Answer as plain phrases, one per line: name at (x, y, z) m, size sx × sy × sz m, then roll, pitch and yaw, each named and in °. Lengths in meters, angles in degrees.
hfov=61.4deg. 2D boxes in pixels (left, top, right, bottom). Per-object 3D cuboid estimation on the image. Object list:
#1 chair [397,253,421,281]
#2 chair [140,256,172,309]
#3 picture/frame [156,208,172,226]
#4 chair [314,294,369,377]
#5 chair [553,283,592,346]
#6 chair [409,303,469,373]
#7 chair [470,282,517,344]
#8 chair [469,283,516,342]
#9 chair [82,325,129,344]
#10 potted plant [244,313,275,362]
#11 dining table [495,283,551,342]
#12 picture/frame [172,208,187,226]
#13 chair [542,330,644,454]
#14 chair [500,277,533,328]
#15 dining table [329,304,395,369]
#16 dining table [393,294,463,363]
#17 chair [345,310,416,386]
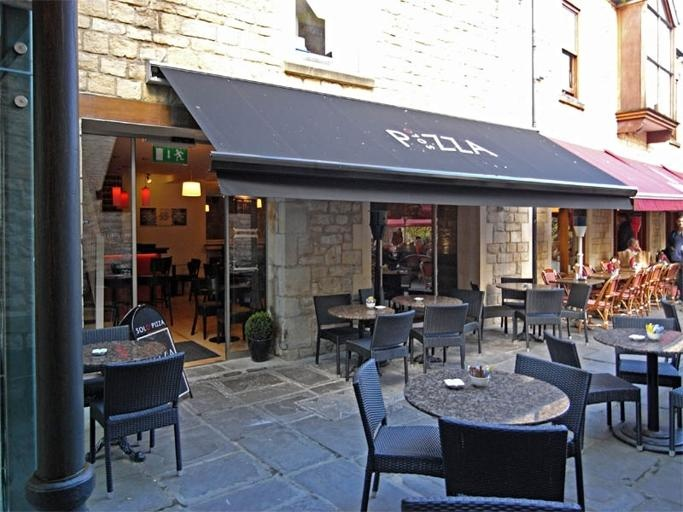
chair at (1.431, 0.245, 12.695) m, size 0.541 × 0.599 × 0.471 m, roll -1°, pitch -1°, yaw 16°
chair at (-4.292, 0.609, 13.049) m, size 0.706 × 1.089 × 0.656 m, roll 1°, pitch 0°, yaw 21°
picture/frame at (-5.972, -1.287, 19.257) m, size 0.545 × 0.502 × 0.129 m, roll 3°, pitch 1°, yaw -37°
chair at (0.038, 1.327, 9.926) m, size 1.064 × 1.192 × 1.047 m, roll 1°, pitch 5°, yaw 1°
chair at (4.484, 1.122, 11.543) m, size 0.920 × 1.179 × 0.918 m, roll 6°, pitch 1°, yaw 23°
chair at (1.595, 1.308, 9.570) m, size 0.719 × 1.097 × 0.808 m, roll 1°, pitch 2°, yaw -11°
chair at (3.172, 0.891, 11.662) m, size 0.657 × 0.930 × 0.730 m, roll -6°, pitch 10°, yaw -10°
chair at (3.197, 1.151, 12.259) m, size 0.859 × 1.149 × 0.679 m, roll -2°, pitch 3°, yaw -1°
chair at (-3.069, 1.017, 7.414) m, size 0.435 × 0.199 × 0.542 m, roll 1°, pitch -2°, yaw -31°
potted plant at (-1.447, 1.423, 10.290) m, size 0.545 × 0.837 × 0.443 m, roll -4°, pitch 9°, yaw -21°
dining table at (3.845, 1.231, 12.656) m, size 1.153 × 1.210 × 1.099 m, roll -5°, pitch -23°, yaw -7°
picture/frame at (-5.568, -1.319, 19.483) m, size 0.616 × 0.615 × 0.065 m, roll -2°, pitch 0°, yaw -39°
chair at (3.086, 1.589, 6.996) m, size 0.948 × 1.280 × 0.817 m, roll -4°, pitch 7°, yaw -5°
chair at (3.683, 0.947, 12.244) m, size 0.923 × 1.022 × 0.884 m, roll 1°, pitch -1°, yaw 5°
dining table at (0.306, 1.171, 9.506) m, size 0.976 × 0.613 × 0.937 m, roll -5°, pitch 11°, yaw -19°
dining table at (1.498, 1.269, 10.534) m, size 1.184 × 0.822 × 1.167 m, roll 0°, pitch 1°, yaw 1°
chair at (0.577, 1.382, 8.867) m, size 0.755 × 1.129 × 0.844 m, roll -2°, pitch 5°, yaw -38°
